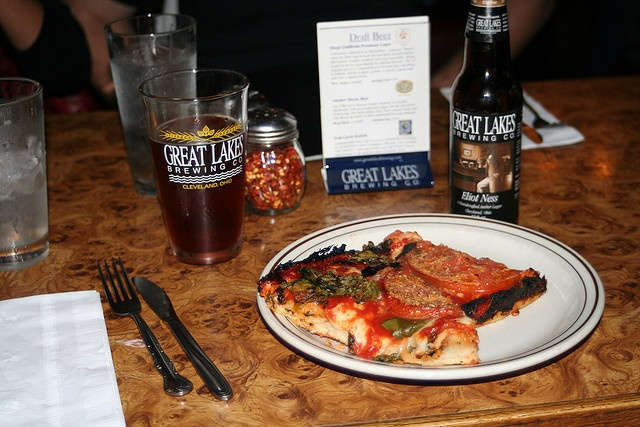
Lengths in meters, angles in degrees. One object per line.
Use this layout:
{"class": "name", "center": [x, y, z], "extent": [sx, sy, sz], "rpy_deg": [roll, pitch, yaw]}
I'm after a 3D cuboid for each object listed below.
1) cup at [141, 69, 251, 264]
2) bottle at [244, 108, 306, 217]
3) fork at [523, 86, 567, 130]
{"class": "cup", "center": [-0.190, -0.081, 0.936], "extent": [0.167, 0.282, 0.190], "rpy_deg": [-3, 31, 3]}
{"class": "bottle", "center": [-0.087, -0.094, 1.056], "extent": [0.134, 0.163, 0.133], "rpy_deg": [-18, 26, -40]}
{"class": "fork", "center": [0.513, -0.238, 1.282], "extent": [0.036, 0.026, 0.184], "rpy_deg": [-18, 38, -12]}
